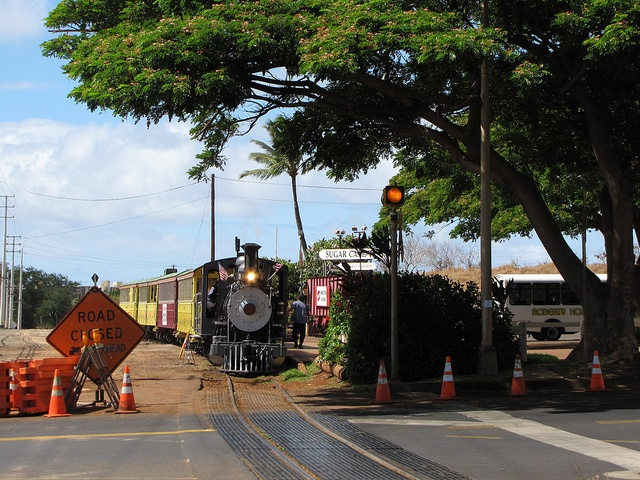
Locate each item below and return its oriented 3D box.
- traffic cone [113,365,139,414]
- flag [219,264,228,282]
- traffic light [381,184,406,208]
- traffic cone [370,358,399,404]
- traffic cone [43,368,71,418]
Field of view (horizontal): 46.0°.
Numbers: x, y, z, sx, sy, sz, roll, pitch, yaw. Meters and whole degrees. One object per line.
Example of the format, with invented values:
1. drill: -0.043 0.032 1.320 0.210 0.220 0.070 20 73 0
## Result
1. traffic cone: -4.042 3.094 15.713 0.453 0.957 1.292 1 -8 -15
2. flag: -3.178 1.059 24.941 0.294 0.559 0.831 0 -8 -7
3. traffic light: 1.796 -1.124 18.607 0.522 0.514 0.639 -1 -8 -3
4. traffic cone: 1.214 3.149 16.663 0.679 1.078 0.723 1 -10 -9
5. traffic cone: -5.400 3.127 15.516 0.476 0.951 0.642 2 -8 -26
